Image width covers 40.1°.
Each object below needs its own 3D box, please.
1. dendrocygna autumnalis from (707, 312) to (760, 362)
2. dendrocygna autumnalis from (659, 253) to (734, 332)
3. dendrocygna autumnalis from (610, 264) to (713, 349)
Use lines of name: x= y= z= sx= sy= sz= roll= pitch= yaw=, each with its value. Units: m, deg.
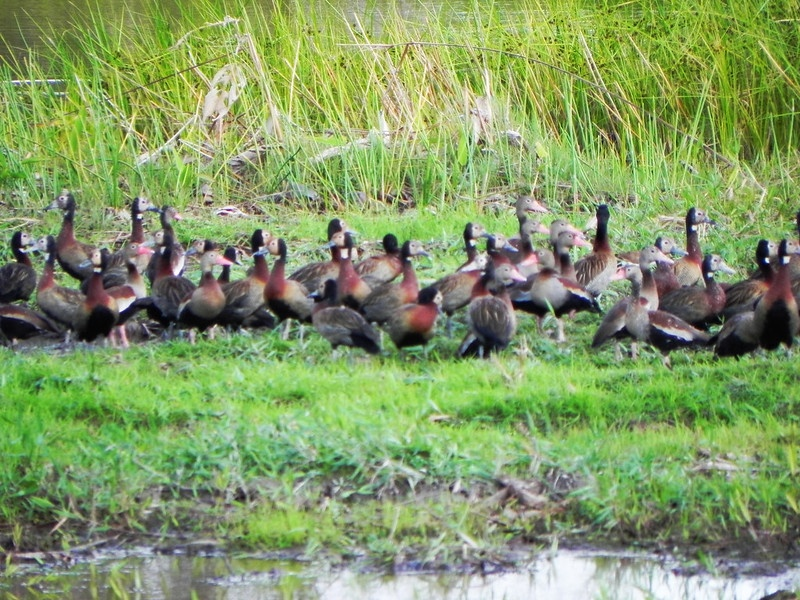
dendrocygna autumnalis: x=3.019 y=0.336 z=9.871 sx=0.491 sy=0.535 sz=0.252 roll=-3 pitch=6 yaw=14
dendrocygna autumnalis: x=2.930 y=-0.067 z=11.065 sx=0.856 sy=0.868 sz=0.511 roll=6 pitch=20 yaw=28
dendrocygna autumnalis: x=2.521 y=0.226 z=10.120 sx=0.914 sy=0.660 sz=0.439 roll=4 pitch=4 yaw=20
